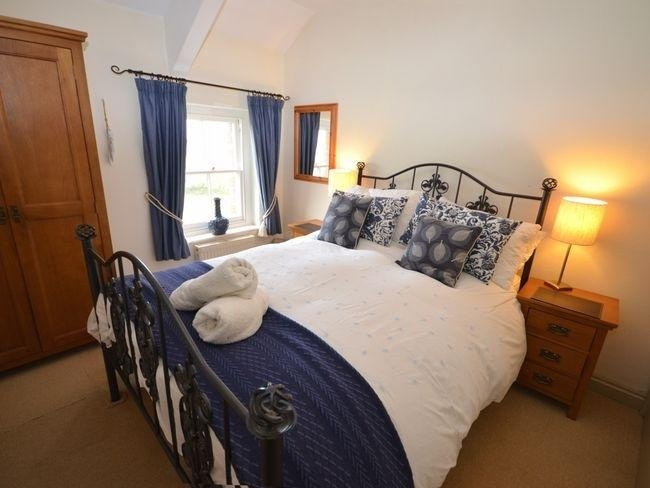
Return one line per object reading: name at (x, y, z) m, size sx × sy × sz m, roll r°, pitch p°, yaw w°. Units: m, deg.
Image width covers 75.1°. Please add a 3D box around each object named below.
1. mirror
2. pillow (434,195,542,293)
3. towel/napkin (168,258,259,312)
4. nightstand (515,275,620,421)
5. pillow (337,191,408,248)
mirror at (-0.082, -1.152, 4.697) m, size 0.768 × 1.088 × 0.048 m, roll 17°, pitch 26°, yaw 37°
pillow at (1.289, 0.009, 3.101) m, size 0.549 × 0.554 × 0.172 m, roll 25°, pitch 3°, yaw 29°
towel/napkin at (-0.662, 0.250, 2.624) m, size 0.379 × 0.179 × 0.385 m, roll -17°, pitch 18°, yaw -32°
nightstand at (1.811, 0.775, 3.324) m, size 0.641 × 0.899 × 0.571 m, roll 22°, pitch 31°, yaw 38°
pillow at (0.487, -0.215, 3.684) m, size 0.430 × 0.414 × 0.130 m, roll 11°, pitch -5°, yaw 36°
